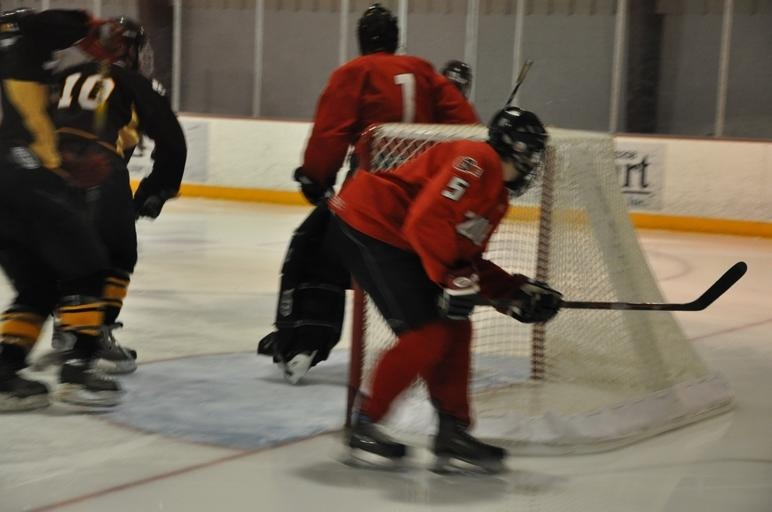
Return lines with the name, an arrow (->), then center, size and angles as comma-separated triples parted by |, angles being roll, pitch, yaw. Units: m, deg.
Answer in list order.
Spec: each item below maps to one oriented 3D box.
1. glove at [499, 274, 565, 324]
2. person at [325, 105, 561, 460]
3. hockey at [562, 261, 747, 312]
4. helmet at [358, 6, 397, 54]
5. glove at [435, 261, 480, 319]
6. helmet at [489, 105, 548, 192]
glove -> 0.498, 0.176, 2.766 | 0.248, 0.091, 0.156 | 21, 41, 7
person -> 0.211, 0.103, 2.748 | 0.845, 1.254, 0.433 | 3, 16, -2
hockey -> 0.993, 0.127, 3.101 | 0.843, 0.198, 0.008 | 0, 5, 20
helmet -> -0.033, -1.052, 3.623 | 0.219, 0.193, 0.249 | 1, 14, 4
glove -> 0.252, 0.126, 2.617 | 0.143, 0.191, 0.138 | 4, 15, 0
helmet -> 0.454, -0.364, 2.697 | 0.197, 0.293, 0.121 | 3, 16, -2
